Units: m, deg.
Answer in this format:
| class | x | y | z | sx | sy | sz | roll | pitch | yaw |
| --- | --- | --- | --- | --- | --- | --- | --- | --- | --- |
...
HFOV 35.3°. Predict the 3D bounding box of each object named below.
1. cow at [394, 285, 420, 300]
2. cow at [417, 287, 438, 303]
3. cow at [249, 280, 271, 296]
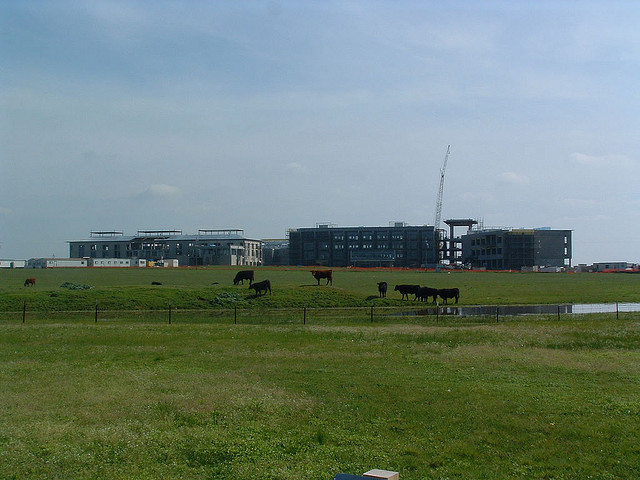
| class | x | y | z | sx | sy | sz | roll | pitch | yaw |
| --- | --- | --- | --- | --- | --- | --- | --- | --- | --- |
| cow | 9.144 | 5.502 | 105.355 | 2.236 | 1.506 | 3.329 | 2 | -3 | -3 |
| cow | 10.999 | 5.686 | 102.802 | 1.332 | 1.449 | 3.937 | 3 | -3 | -16 |
| cow | -5.945 | 4.869 | 101.232 | 2.058 | 1.535 | 3.171 | 3 | -3 | -7 |
